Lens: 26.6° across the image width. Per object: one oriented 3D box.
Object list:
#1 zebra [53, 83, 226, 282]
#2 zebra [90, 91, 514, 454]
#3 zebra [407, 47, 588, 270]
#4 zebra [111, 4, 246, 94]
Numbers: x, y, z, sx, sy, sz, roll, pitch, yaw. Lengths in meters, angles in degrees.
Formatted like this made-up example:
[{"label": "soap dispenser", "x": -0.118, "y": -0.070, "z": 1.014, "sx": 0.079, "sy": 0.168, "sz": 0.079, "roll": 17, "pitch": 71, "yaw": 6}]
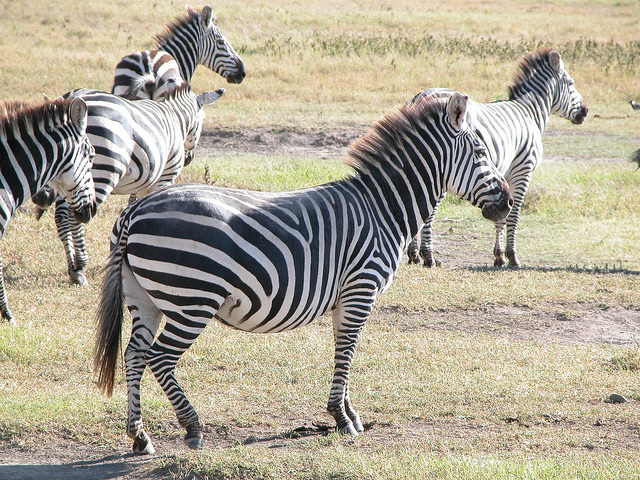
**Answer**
[{"label": "zebra", "x": -3.269, "y": -1.136, "z": 23.318, "sx": 1.319, "sy": 3.255, "sz": 4.569, "roll": 11, "pitch": 11, "yaw": 27}, {"label": "zebra", "x": -0.212, "y": 0.508, "z": 20.423, "sx": 6.309, "sy": 5.575, "sz": 1.963, "roll": -4, "pitch": 11, "yaw": -15}, {"label": "zebra", "x": 3.159, "y": -1.498, "z": 25.019, "sx": 4.567, "sy": 4.015, "sz": 1.452, "roll": -6, "pitch": 7, "yaw": -25}, {"label": "zebra", "x": -2.511, "y": -3.461, "z": 24.917, "sx": 1.712, "sy": 1.781, "sz": 2.697, "roll": 12, "pitch": 10, "yaw": 8}]
